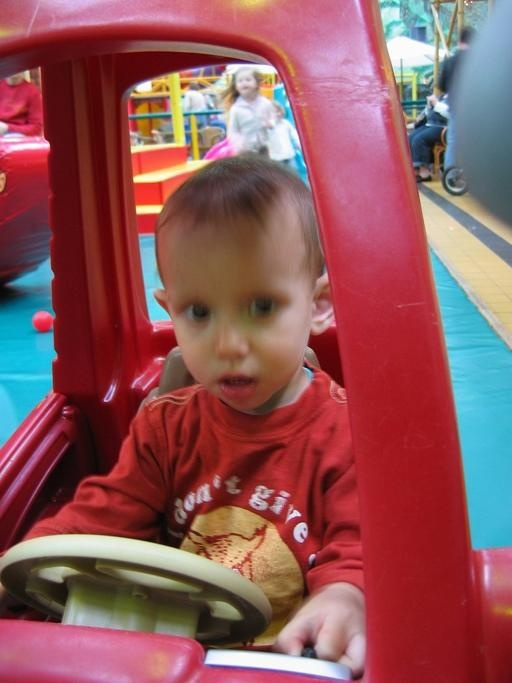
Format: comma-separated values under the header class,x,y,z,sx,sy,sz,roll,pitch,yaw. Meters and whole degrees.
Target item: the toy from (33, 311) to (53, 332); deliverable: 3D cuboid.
class,x,y,z,sx,sy,sz,roll,pitch,yaw
toy,-0.968,-0.088,2.501,0.074,0.083,0.071,-9,46,0
